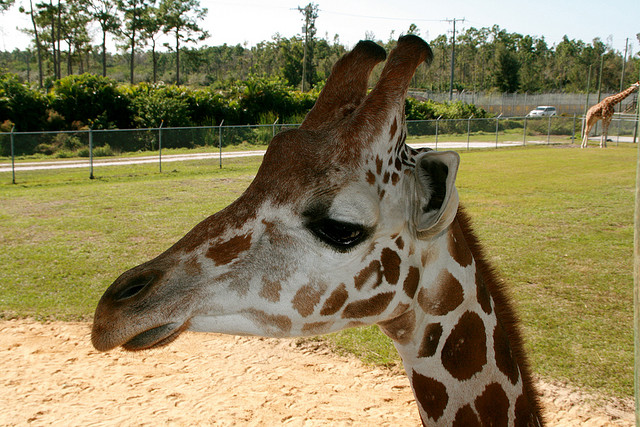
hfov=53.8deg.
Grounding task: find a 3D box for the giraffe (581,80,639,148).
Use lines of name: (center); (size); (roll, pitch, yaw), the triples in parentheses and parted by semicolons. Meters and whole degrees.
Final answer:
giraffe: (16.843, -5.609, 37.392); (2.503, 4.090, 3.388); (-2, -12, 24)
